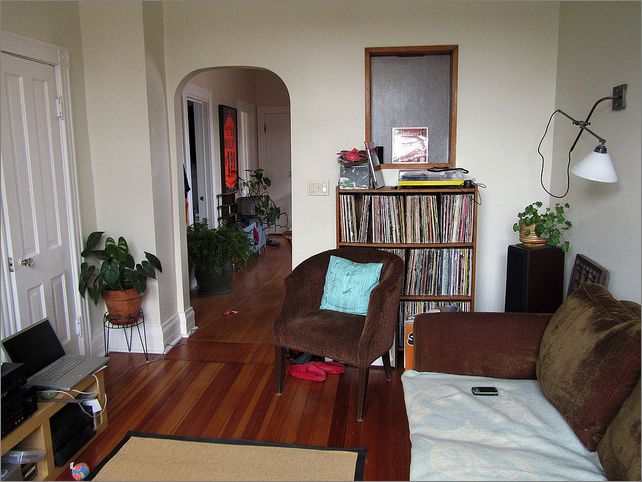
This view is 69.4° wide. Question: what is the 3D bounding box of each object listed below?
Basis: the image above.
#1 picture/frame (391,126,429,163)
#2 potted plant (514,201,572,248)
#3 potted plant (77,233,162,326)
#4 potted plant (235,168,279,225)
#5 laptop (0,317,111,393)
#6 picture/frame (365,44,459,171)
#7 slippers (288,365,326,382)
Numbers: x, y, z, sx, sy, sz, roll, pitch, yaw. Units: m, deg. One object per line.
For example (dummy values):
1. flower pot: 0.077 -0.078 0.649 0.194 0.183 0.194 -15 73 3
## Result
1. picture/frame: 0.772 -0.827 3.935 0.287 0.324 0.032 1 7 -1
2. potted plant: 1.712 -0.101 3.507 0.362 0.264 0.365 -5 12 -19
3. potted plant: -1.662 0.261 4.036 0.671 0.843 0.670 -1 7 -4
4. potted plant: -1.099 -0.734 7.922 0.540 0.849 0.446 15 -12 -33
5. laptop: -1.642 0.742 2.868 0.393 0.261 0.440 7 12 3
6. picture/frame: 0.782 -1.152 3.876 0.974 1.391 0.106 0 7 7
7. slippers: -0.096 1.038 3.646 0.207 0.067 0.120 7 15 16
